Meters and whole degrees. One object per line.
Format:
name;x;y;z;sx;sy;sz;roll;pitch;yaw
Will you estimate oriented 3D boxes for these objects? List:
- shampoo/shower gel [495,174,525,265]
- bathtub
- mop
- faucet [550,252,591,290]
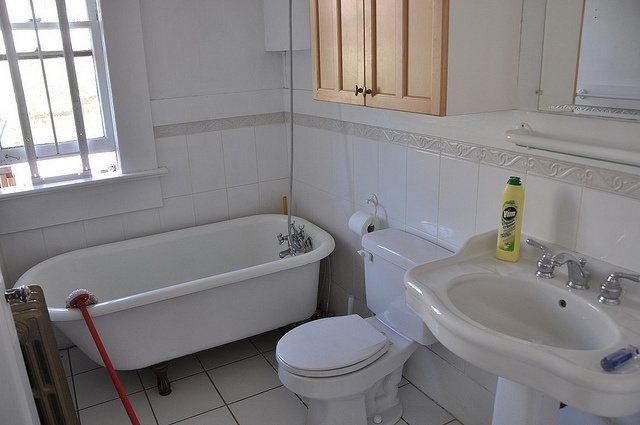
shampoo/shower gel;0.898;0.038;2.092;0.092;0.387;0.093;6;15;28
bathtub;-0.972;0.503;3.132;1.754;0.506;1.021;-11;16;-29
mop;-1.207;0.715;2.432;0.279;0.804;0.470;-9;19;-32
faucet;1.049;0.252;1.868;0.230;0.143;0.084;-1;13;-25
